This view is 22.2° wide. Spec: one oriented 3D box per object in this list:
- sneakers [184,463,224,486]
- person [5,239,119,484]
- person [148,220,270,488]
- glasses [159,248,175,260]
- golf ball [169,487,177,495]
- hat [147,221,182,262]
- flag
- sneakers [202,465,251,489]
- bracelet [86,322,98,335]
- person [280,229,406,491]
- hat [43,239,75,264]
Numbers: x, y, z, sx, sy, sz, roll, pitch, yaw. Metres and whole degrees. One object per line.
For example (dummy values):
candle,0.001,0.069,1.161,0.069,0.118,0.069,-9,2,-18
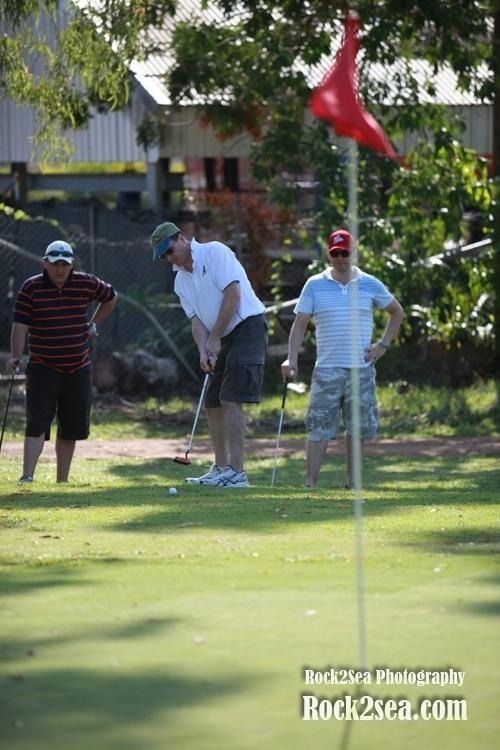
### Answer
sneakers,-0.285,0.560,7.128,0.265,0.136,0.093,-3,0,-7
person,-1.128,-0.063,7.266,0.379,1.399,0.774,1,1,23
person,-0.226,-0.121,7.126,0.591,1.454,0.597,1,1,9
glasses,-0.458,-0.678,7.088,0.043,0.032,0.072,16,-12,5
golf ball,-0.391,0.589,6.469,0.029,0.030,0.035,20,-10,4
hat,-0.468,-0.746,7.117,0.151,0.220,0.408,1,1,-3
flag,0.405,-1.171,4.937,0.344,0.691,1.017,1,1,4
sneakers,-0.124,0.557,6.972,0.269,0.134,0.104,1,-2,0
bracelet,-0.928,-0.277,7.466,0.050,0.075,0.073,-5,-17,-3
person,0.463,-0.089,7.039,0.571,1.440,0.641,1,1,28
hat,-1.067,-0.678,7.156,0.136,0.115,0.201,3,2,-13
